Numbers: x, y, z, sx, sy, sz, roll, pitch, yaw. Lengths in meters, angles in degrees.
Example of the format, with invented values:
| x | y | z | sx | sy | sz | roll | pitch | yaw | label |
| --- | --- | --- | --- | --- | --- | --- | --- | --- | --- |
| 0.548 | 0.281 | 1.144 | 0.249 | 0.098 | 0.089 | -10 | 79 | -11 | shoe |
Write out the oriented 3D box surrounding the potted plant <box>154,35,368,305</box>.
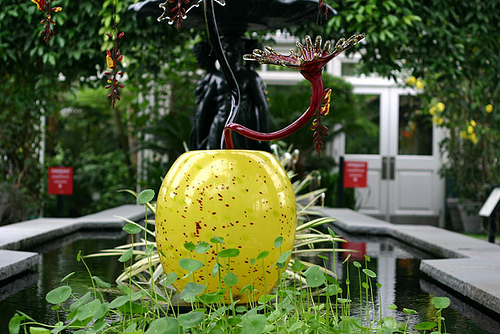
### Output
| x | y | z | sx | sy | sz | roll | pitch | yaw | label |
| --- | --- | --- | --- | --- | --- | --- | --- | --- | --- |
| -0.009 | 0.157 | 8.664 | 1.274 | 2.732 | 1.242 | 7 | -20 | -3 | potted plant |

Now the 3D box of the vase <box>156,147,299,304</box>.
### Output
| x | y | z | sx | sy | sz | roll | pitch | yaw | label |
| --- | --- | --- | --- | --- | --- | --- | --- | --- | --- |
| -0.310 | 0.279 | 8.514 | 1.005 | 1.394 | 1.081 | -17 | 18 | -28 | vase |

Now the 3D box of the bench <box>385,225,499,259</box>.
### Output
| x | y | z | sx | sy | sz | roll | pitch | yaw | label |
| --- | --- | --- | --- | --- | --- | --- | --- | --- | --- |
| 1.827 | 0.712 | 9.252 | 0.426 | 0.215 | 1.127 | -4 | 4 | -40 | bench |
